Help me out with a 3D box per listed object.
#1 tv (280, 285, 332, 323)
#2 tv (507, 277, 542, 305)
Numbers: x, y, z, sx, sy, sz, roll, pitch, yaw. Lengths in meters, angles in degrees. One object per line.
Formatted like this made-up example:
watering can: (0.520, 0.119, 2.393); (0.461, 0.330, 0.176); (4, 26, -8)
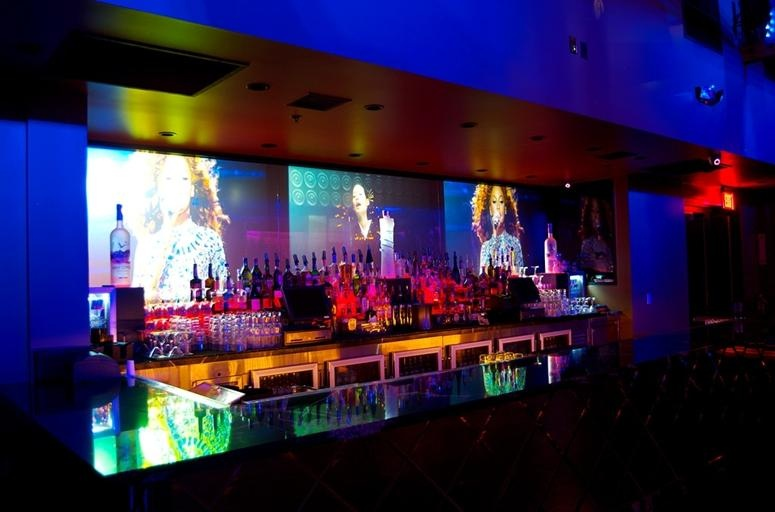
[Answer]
tv: (-0.667, 0.405, 5.134); (0.382, 0.302, 0.248); (-3, 0, -16)
tv: (1.421, 0.364, 6.436); (0.311, 0.291, 0.074); (3, -32, -34)
